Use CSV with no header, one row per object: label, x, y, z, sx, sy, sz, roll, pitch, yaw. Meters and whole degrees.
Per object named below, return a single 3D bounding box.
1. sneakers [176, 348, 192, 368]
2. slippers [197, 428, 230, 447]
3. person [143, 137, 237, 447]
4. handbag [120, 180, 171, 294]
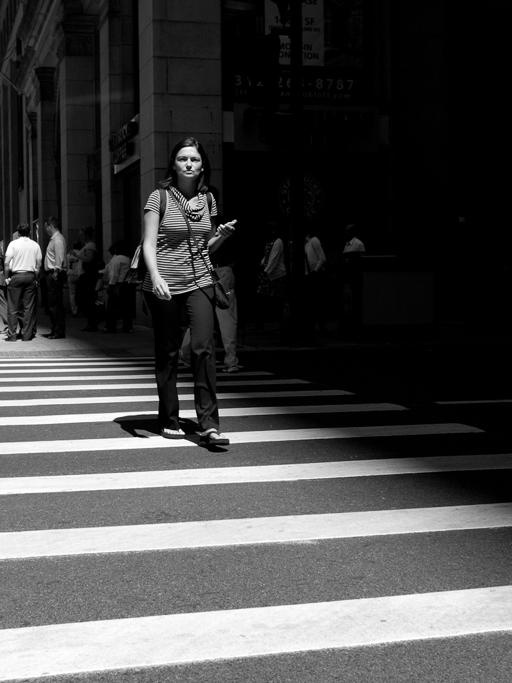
sneakers,-0.856,0.197,9.514,0.160,0.342,0.169,2,27,-6
slippers,-0.299,0.666,5.496,0.093,0.132,0.243,-2,0,-42
person,-0.476,-0.333,5.512,0.619,2.141,0.594,1,4,-3
handbag,-0.691,-0.717,5.449,0.320,0.591,0.518,5,-32,-16
